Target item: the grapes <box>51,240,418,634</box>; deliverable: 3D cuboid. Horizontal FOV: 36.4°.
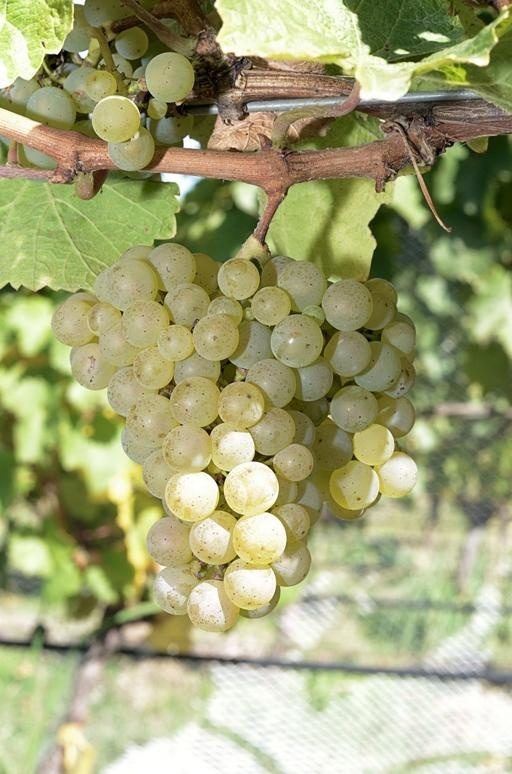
[{"bbox_3d":[-0.009,0.009,0.744,0.248,0.244,0.391,-12,75,38],"label":"grapes"}]
